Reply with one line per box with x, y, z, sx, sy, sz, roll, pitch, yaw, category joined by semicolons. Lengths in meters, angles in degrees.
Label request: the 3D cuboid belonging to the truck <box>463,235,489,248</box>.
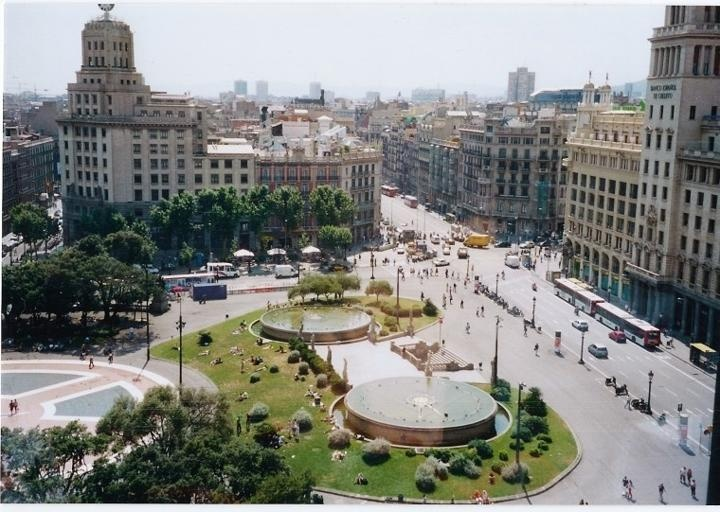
28.708;-3.525;171.212;4.278;2.360;3.505;3;7;6;truck

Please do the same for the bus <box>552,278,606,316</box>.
38.946;7.388;124.297;2.924;2.508;10.216;-1;16;-10;bus

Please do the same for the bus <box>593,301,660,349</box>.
42.359;10.763;110.396;3.084;3.196;13.037;-2;18;-12;bus
